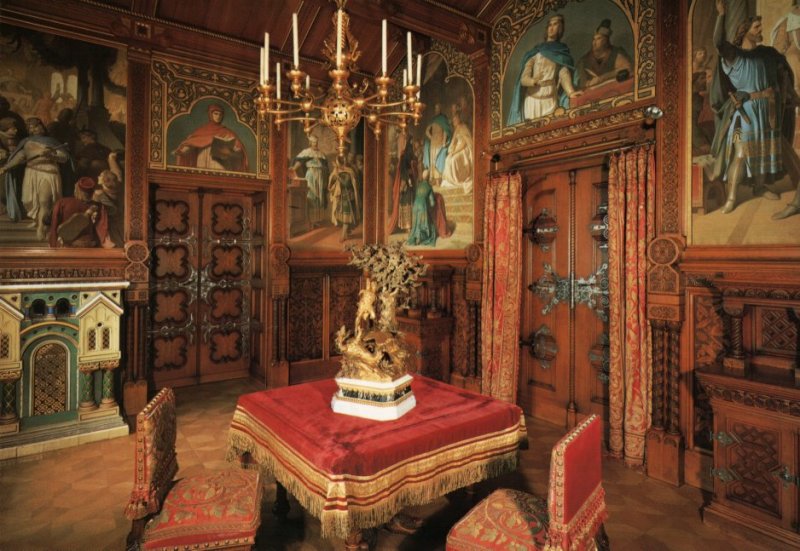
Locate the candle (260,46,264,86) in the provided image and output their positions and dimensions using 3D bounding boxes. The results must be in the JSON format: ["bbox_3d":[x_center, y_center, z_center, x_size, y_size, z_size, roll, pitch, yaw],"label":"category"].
[{"bbox_3d":[-1.368,-2.058,6.304,0.044,0.369,0.159,-4,4,-15],"label":"candle"}]

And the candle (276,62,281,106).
[{"bbox_3d":[-1.238,-1.932,6.381,0.034,0.370,0.293,-4,4,-13],"label":"candle"}]

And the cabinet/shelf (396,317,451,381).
[{"bbox_3d":[0.313,1.234,9.652,0.904,1.132,0.900,2,4,5],"label":"cabinet/shelf"}]
